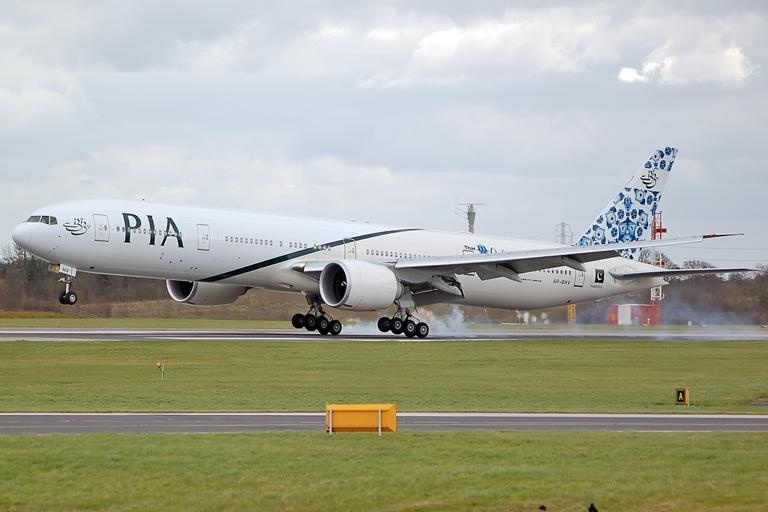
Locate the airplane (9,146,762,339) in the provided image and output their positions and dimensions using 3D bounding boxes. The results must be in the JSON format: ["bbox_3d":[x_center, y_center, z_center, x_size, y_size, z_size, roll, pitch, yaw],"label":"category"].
[{"bbox_3d":[0.435,-0.576,48.295,28.151,8.146,12.529,1,4,-17],"label":"airplane"}]
